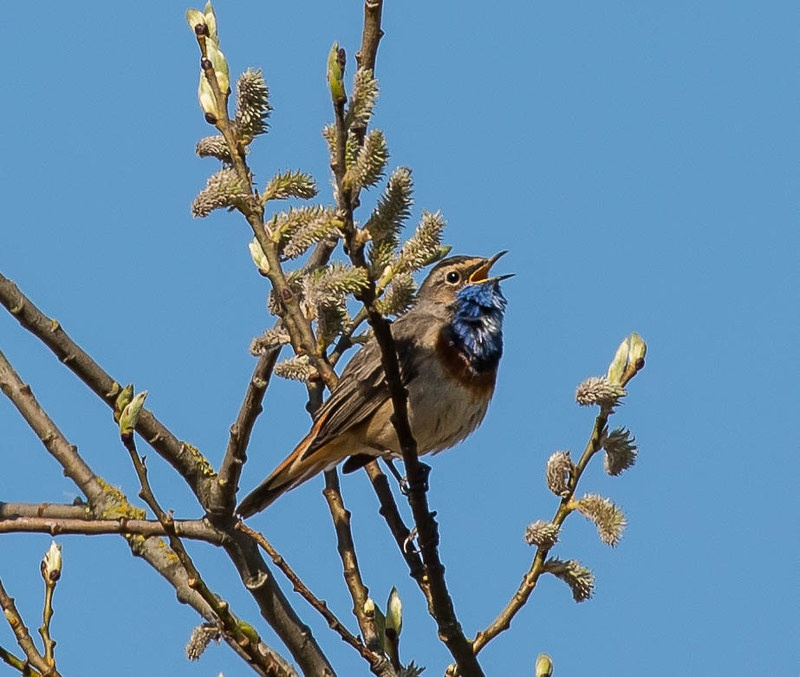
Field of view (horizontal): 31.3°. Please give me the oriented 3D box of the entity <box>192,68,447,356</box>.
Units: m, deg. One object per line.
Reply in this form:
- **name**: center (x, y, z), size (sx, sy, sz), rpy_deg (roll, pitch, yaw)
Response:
- **entity**: center (-0.268, -0.173, 6.153), size (0.920, 1.432, 1.022), rpy_deg (-12, -63, 11)

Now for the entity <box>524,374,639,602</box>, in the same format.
- **entity**: center (0.764, 0.813, 6.341), size (0.362, 0.232, 0.900), rpy_deg (7, -48, 31)
